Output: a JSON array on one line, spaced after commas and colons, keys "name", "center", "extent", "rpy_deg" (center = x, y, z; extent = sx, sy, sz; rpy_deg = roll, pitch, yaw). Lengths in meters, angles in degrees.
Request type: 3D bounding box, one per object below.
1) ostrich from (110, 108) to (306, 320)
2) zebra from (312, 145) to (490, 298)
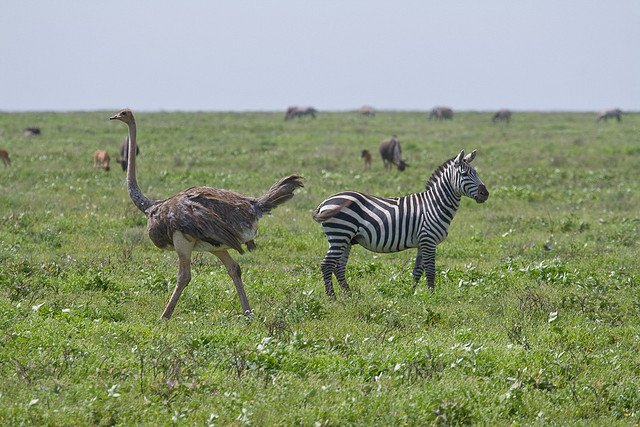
[{"name": "ostrich", "center": [-2.463, 0.177, 17.132], "extent": [3.152, 4.713, 2.110], "rpy_deg": [0, 4, -7]}, {"name": "zebra", "center": [1.729, 0.191, 17.427], "extent": [3.466, 3.063, 1.051], "rpy_deg": [-1, 12, -8]}]
